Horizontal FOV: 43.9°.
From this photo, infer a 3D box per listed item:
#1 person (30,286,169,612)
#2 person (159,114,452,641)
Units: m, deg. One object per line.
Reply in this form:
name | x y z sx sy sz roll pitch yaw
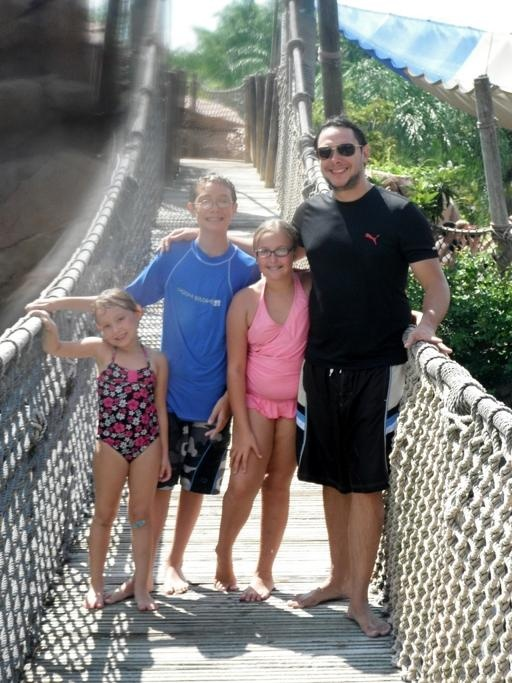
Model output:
person | -0.424 0.280 1.764 0.367 0.852 0.321 1 4 -8
person | 0.286 0.040 1.735 0.535 1.384 0.367 4 5 31
